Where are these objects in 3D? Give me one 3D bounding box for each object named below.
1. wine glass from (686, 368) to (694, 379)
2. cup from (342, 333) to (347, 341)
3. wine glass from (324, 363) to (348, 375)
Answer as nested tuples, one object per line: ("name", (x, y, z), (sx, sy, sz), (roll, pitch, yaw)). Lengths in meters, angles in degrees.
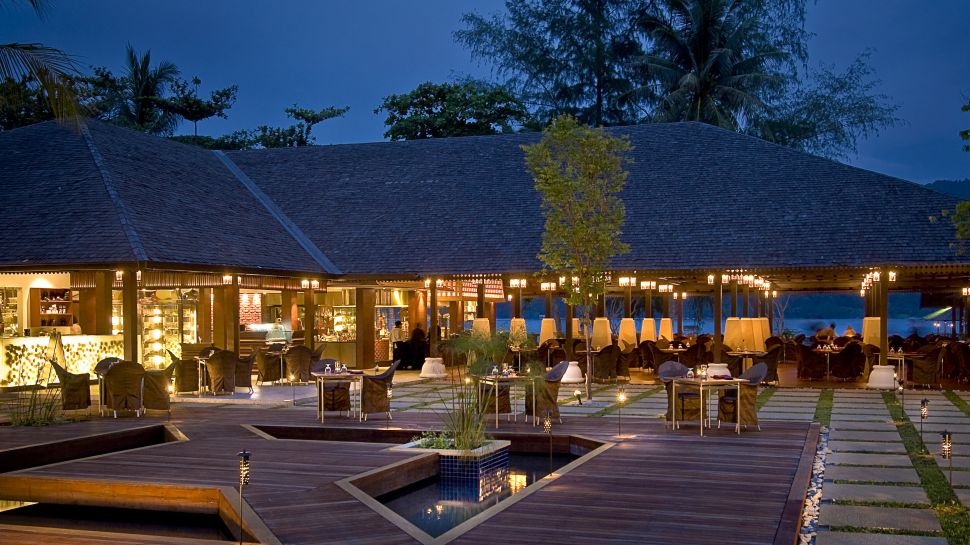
("wine glass", (4.471, 2.223, 16.628), (0.198, 0.330, 0.196), (-1, 0, 2))
("cup", (-5.283, 2.437, 28.663), (0.237, 0.236, 0.433), (-1, 12, -4))
("wine glass", (-3.457, 2.284, 17.654), (0.447, 0.161, 0.331), (1, -4, 4))
